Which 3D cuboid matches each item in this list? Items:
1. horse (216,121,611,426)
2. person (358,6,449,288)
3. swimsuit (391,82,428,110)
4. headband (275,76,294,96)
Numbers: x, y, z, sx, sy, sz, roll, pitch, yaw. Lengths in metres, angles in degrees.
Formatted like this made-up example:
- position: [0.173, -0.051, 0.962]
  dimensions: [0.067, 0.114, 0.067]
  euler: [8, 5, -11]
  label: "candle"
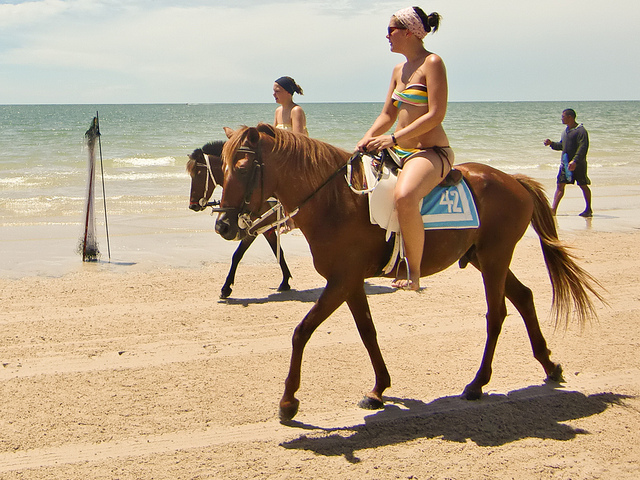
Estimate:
- position: [1.650, -0.099, 10.578]
  dimensions: [6.707, 4.413, 1.838]
  euler: [-1, -1, -13]
  label: "horse"
- position: [0.877, -0.929, 8.188]
  dimensions: [0.859, 2.744, 0.792]
  euler: [-3, 11, -11]
  label: "person"
- position: [0.910, -1.447, 8.131]
  dimensions: [0.219, 0.182, 0.377]
  euler: [-4, 3, -40]
  label: "swimsuit"
- position: [-0.489, -2.115, 11.187]
  dimensions: [0.233, 0.229, 0.388]
  euler: [-1, 11, 1]
  label: "headband"
